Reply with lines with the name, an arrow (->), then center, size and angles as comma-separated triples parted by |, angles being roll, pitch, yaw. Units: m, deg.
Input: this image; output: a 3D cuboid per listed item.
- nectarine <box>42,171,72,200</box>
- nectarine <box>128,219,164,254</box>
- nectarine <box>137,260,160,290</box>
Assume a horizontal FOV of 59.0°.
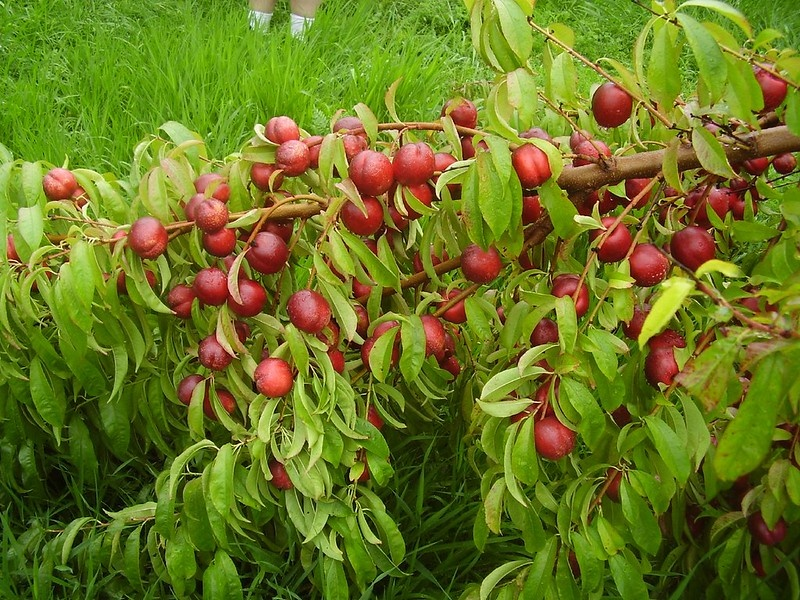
nectarine -> -0.831, -0.281, 1.720 | 0.066, 0.088, 0.070 | 0, -4, -31
nectarine -> -0.535, -0.128, 1.496 | 0.081, 0.086, 0.054 | 1, 25, -23
nectarine -> -0.597, -0.049, 1.692 | 0.039, 0.043, 0.081 | 4, 52, -48
